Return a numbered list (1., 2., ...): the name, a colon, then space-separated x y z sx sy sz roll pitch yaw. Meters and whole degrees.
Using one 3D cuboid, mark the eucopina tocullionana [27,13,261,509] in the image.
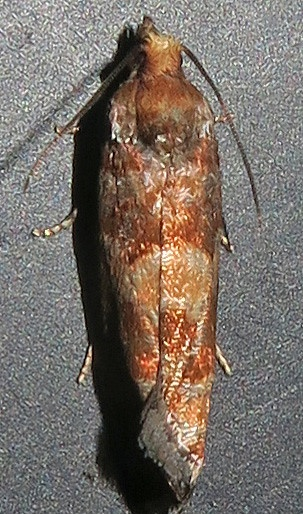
1. eucopina tocullionana: 0.033 -0.014 1.097 0.295 0.172 0.680 1 91 -12
